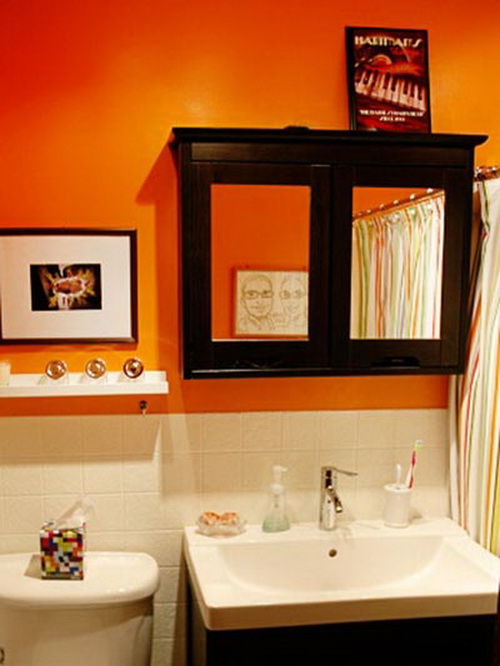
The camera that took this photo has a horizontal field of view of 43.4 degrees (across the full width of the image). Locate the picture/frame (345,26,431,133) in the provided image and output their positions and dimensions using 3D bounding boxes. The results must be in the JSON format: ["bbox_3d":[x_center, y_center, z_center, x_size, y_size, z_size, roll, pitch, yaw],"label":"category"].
[{"bbox_3d":[0.396,-0.719,1.792,0.232,0.327,0.031,1,-8,-8],"label":"picture/frame"}]

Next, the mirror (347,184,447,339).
[{"bbox_3d":[0.366,-0.197,1.619,0.370,0.456,0.063,0,-2,-8],"label":"mirror"}]

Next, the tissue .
[{"bbox_3d":[-0.464,0.533,1.643,0.128,0.214,0.162,1,-3,-2],"label":"tissue "}]

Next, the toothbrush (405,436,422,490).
[{"bbox_3d":[0.470,0.381,1.822,0.043,0.171,0.152,0,5,17],"label":"toothbrush"}]

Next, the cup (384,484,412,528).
[{"bbox_3d":[0.424,0.494,1.826,0.078,0.133,0.134,-1,5,13],"label":"cup"}]

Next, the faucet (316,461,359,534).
[{"bbox_3d":[0.223,0.453,1.698,0.051,0.184,0.177,0,-2,-8],"label":"faucet"}]
